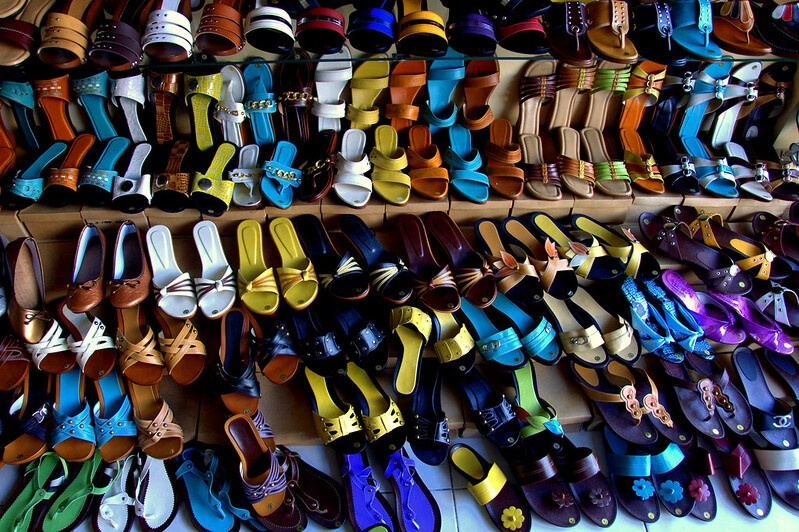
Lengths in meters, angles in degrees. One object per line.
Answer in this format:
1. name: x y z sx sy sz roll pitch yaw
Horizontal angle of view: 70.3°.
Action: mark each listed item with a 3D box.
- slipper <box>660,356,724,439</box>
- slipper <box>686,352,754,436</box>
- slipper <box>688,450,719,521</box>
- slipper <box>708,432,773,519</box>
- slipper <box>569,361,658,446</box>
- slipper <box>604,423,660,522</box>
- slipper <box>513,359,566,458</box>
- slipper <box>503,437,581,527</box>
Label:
1. slipper: 1.487 0.636 2.946 0.169 0.098 0.471 -17 49 -1
2. slipper: 1.690 0.652 3.036 0.199 0.108 0.621 -21 20 15
3. slipper: 1.490 1.095 2.843 0.125 0.088 0.346 1 70 -3
4. slipper: 1.731 1.035 2.845 0.193 0.347 0.242 -8 12 -23
5. slipper: 1.114 0.613 2.913 0.291 0.185 0.566 -15 44 -6
6. slipper: 1.133 1.001 2.854 0.164 0.127 0.479 -12 52 0
7. slipper: 0.689 0.711 2.877 0.210 0.136 0.590 -13 51 2
8. slipper: 0.690 1.054 2.788 0.380 0.356 0.188 0 12 17
